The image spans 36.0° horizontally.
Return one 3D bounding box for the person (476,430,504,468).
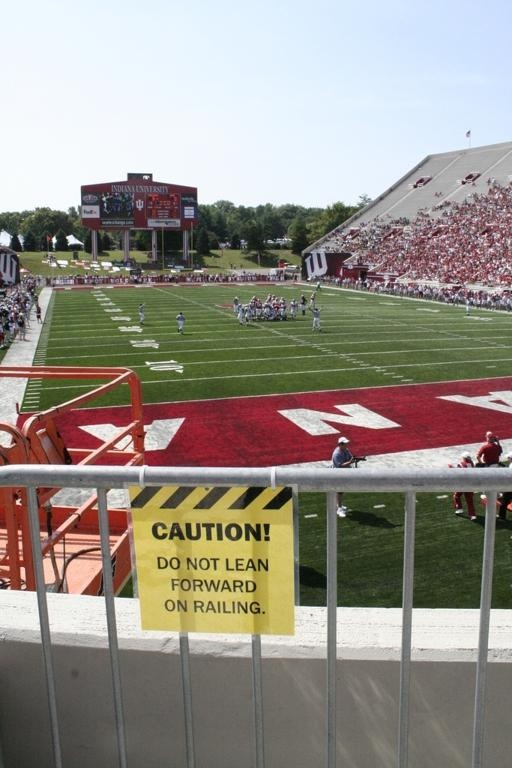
[{"bbox_3d":[2.593,0.771,8.786,0.215,0.344,0.784,2,10,14],"label":"person"}]
